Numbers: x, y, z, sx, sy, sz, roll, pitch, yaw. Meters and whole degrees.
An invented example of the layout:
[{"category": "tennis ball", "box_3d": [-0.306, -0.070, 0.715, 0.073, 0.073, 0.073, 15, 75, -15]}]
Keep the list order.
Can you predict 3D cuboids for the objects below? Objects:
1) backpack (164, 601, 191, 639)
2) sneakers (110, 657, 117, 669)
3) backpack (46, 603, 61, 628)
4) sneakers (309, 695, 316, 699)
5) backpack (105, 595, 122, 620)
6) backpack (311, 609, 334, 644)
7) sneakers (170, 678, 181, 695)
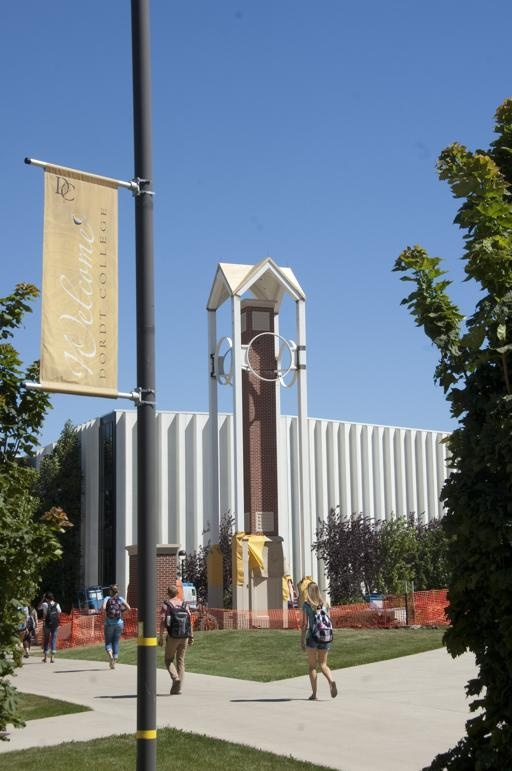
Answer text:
[{"category": "backpack", "box_3d": [-1.122, 3.421, 14.333, 0.371, 0.541, 0.334, -1, -10, -6]}, {"category": "sneakers", "box_3d": [-2.681, 5.294, 18.689, 0.081, 0.243, 0.102, 0, -5, 7]}, {"category": "backpack", "box_3d": [-4.771, 5.467, 23.359, 0.295, 0.558, 0.546, 0, -11, -14]}, {"category": "sneakers", "box_3d": [0.751, 4.097, 12.899, 0.123, 0.049, 0.037, 2, -4, -44]}, {"category": "backpack", "box_3d": [-2.647, 4.214, 18.564, 0.324, 0.445, 0.384, -1, -10, -9]}, {"category": "backpack", "box_3d": [0.872, 3.206, 13.068, 0.244, 0.460, 0.367, -3, -10, 6]}, {"category": "sneakers", "box_3d": [-1.125, 4.292, 14.028, 0.116, 0.280, 0.127, 8, 6, -2]}]
